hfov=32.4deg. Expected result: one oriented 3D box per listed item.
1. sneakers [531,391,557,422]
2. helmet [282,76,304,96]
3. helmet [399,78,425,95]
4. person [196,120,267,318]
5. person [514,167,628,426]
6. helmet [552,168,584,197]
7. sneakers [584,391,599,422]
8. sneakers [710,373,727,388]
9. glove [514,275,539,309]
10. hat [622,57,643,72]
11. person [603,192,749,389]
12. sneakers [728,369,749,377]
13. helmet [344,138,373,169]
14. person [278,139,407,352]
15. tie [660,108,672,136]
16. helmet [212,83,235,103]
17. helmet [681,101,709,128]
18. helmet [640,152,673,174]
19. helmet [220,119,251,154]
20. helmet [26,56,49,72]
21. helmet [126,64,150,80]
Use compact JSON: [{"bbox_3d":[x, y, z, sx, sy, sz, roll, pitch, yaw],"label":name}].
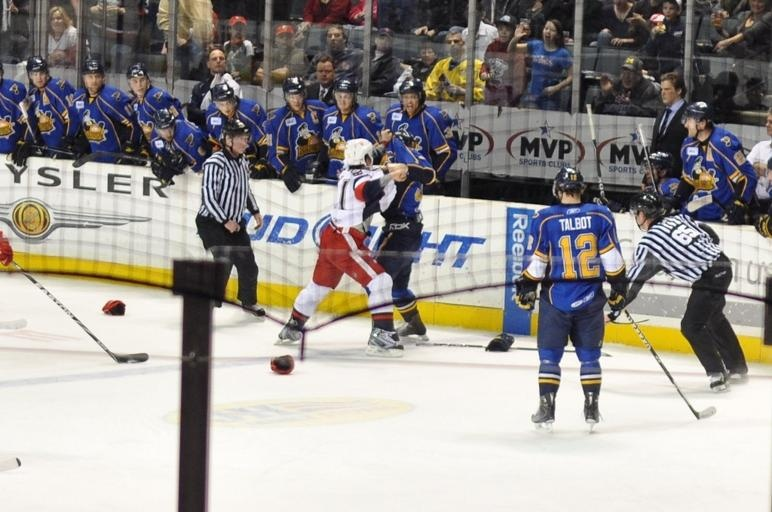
[{"bbox_3d":[1.157,1.092,9.746,0.212,0.236,0.130,-2,10,-17],"label":"sneakers"},{"bbox_3d":[-0.875,-1.623,12.541,0.153,0.166,0.179,-5,-9,-6],"label":"helmet"},{"bbox_3d":[0.230,-1.565,12.135,0.220,0.142,0.187,3,10,8],"label":"helmet"},{"bbox_3d":[-1.385,-0.375,11.779,0.602,1.649,1.113,0,10,-7],"label":"person"},{"bbox_3d":[1.373,0.280,9.928,0.789,1.837,0.780,2,10,0],"label":"person"},{"bbox_3d":[1.348,-0.585,10.122,0.210,0.226,0.230,3,6,0],"label":"helmet"},{"bbox_3d":[1.504,1.093,9.766,0.112,0.240,0.145,3,10,11],"label":"sneakers"},{"bbox_3d":[2.644,0.979,10.688,0.139,0.114,0.104,-4,-1,-43],"label":"sneakers"},{"bbox_3d":[1.065,0.237,10.197,0.266,0.239,0.105,9,15,6],"label":"glove"},{"bbox_3d":[2.240,-1.766,12.125,0.125,0.085,0.172,23,0,37],"label":"hat"},{"bbox_3d":[2.312,0.297,11.004,1.270,1.639,0.966,-13,14,-23],"label":"person"},{"bbox_3d":[2.856,0.922,10.838,0.117,0.038,0.072,-1,-2,5],"label":"sneakers"},{"bbox_3d":[-0.220,-0.888,11.225,0.200,0.223,0.259,10,23,35],"label":"helmet"},{"bbox_3d":[-0.395,-0.118,11.170,0.920,1.739,0.641,1,10,-1],"label":"person"},{"bbox_3d":[2.501,-1.230,11.933,0.083,0.206,0.109,9,12,37],"label":"tie"},{"bbox_3d":[-1.567,-1.576,12.697,0.169,0.181,0.200,-10,-8,-15],"label":"helmet"},{"bbox_3d":[2.731,-1.271,11.713,0.226,0.193,0.125,1,10,-2],"label":"helmet"},{"bbox_3d":[2.407,-0.843,11.779,0.207,0.144,0.148,-2,25,-1],"label":"helmet"},{"bbox_3d":[-1.368,-1.089,11.919,0.353,0.303,0.274,-2,-7,-14],"label":"helmet"},{"bbox_3d":[-3.590,-1.988,13.716,0.199,0.163,0.157,-8,13,10],"label":"helmet"},{"bbox_3d":[-2.441,-1.838,13.108,0.143,0.150,0.168,-3,-12,-8],"label":"helmet"}]
